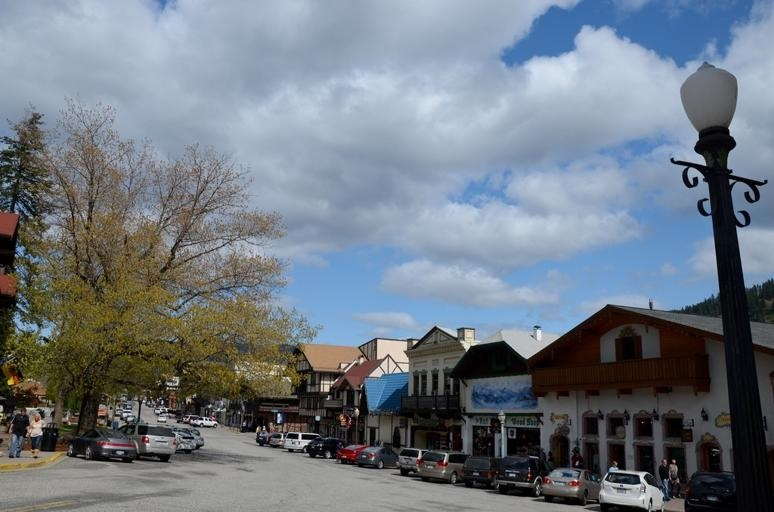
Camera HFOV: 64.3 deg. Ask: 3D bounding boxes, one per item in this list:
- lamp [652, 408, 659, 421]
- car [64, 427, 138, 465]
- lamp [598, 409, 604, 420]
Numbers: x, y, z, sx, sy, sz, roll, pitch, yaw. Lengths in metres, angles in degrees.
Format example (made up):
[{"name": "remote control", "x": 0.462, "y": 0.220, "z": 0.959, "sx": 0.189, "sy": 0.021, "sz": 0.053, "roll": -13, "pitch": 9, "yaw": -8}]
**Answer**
[{"name": "lamp", "x": 15.493, "y": 9.170, "z": 35.565, "sx": 0.332, "sy": 0.670, "sz": 0.176, "roll": -9, "pitch": -24, "yaw": 31}, {"name": "car", "x": -15.528, "y": 10.365, "z": 33.684, "sx": 3.510, "sy": 1.685, "sz": 1.728, "roll": -8, "pitch": -24, "yaw": 27}, {"name": "lamp", "x": 13.337, "y": 9.893, "z": 38.376, "sx": 0.363, "sy": 0.646, "sz": 0.183, "roll": -10, "pitch": -24, "yaw": 33}]
